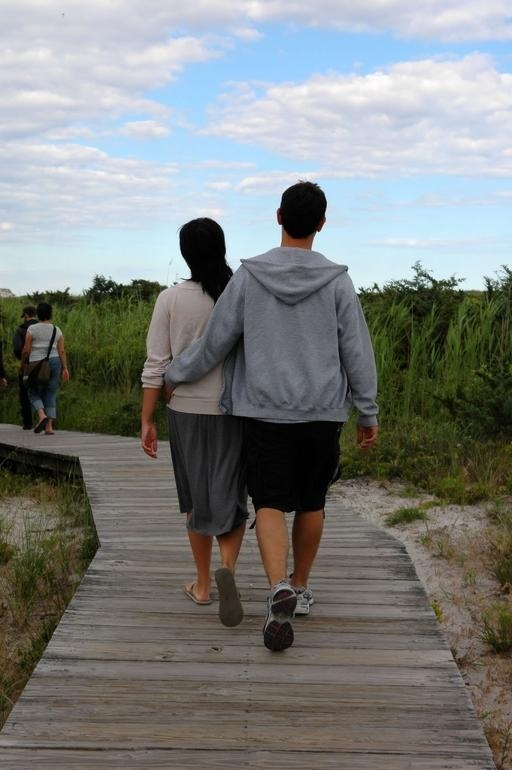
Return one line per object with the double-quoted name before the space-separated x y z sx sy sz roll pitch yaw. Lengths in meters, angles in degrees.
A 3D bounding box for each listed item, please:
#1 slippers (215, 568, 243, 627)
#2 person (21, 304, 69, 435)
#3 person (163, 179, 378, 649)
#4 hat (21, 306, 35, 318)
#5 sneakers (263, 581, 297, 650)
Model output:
"slippers" -0.094 0.753 2.441 0.091 0.230 0.091 -15 9 5
"person" -2.653 -0.050 8.435 0.502 1.425 0.710 0 3 -15
"person" 0.092 0.118 2.603 0.624 1.727 0.625 4 4 44
"hat" -2.934 -0.931 8.629 0.128 0.159 0.156 1 6 -18
"sneakers" 0.071 0.792 2.322 0.097 0.248 0.112 2 24 -3
